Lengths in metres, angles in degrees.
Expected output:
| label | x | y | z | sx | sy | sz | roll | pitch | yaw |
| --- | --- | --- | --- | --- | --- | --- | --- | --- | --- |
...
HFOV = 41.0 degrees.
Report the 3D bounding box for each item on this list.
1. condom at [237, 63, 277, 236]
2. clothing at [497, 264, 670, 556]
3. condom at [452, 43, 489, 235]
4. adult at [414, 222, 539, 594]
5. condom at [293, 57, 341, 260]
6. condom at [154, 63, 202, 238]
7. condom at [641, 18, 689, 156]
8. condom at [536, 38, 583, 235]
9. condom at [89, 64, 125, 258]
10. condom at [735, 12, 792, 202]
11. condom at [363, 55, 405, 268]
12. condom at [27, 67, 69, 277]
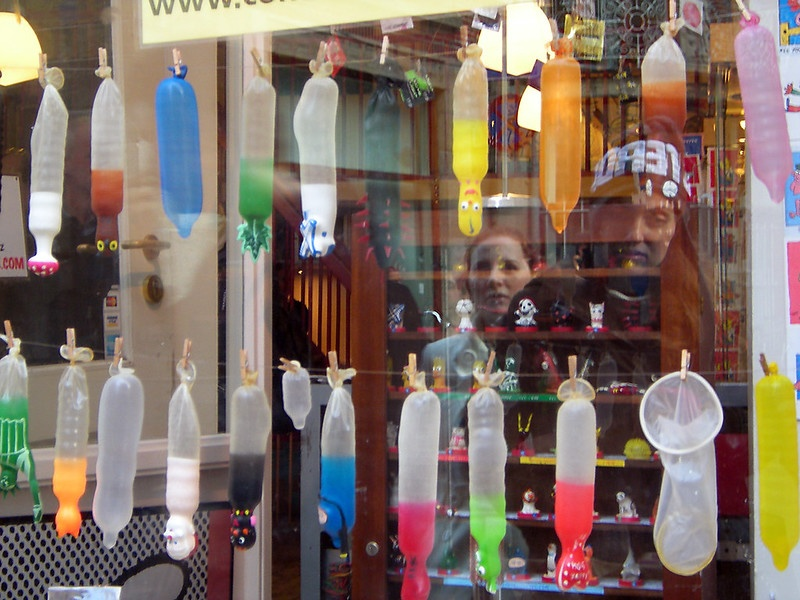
| label | x | y | z | sx | sy | sz | roll | pitch | yaw |
| --- | --- | --- | --- | --- | --- | --- | --- | --- | --- |
| condom | -0.342 | -0.357 | 2.538 | 0.070 | 0.354 | 0.070 | 0 | -4 | 7 |
| clothing | 0.434 | 0.230 | 2.559 | 0.504 | 0.658 | 0.189 | 0 | -8 | 7 |
| condom | 0.165 | -0.372 | 2.485 | 0.076 | 0.431 | 0.085 | 0 | 4 | 8 |
| adult | 0.172 | 0.046 | 2.718 | 0.214 | 0.256 | 0.824 | 12 | -41 | 6 |
| condom | -0.192 | -0.327 | 2.473 | 0.099 | 0.442 | 0.053 | -1 | 4 | -8 |
| condom | -0.530 | -0.354 | 2.570 | 0.105 | 0.404 | 0.120 | -2 | 4 | -12 |
| condom | 0.593 | -0.484 | 2.418 | 0.092 | 0.290 | 0.072 | 0 | 4 | 14 |
| condom | 0.361 | -0.377 | 2.435 | 0.083 | 0.430 | 0.090 | -3 | 5 | -33 |
| condom | -0.715 | -0.344 | 2.600 | 0.071 | 0.438 | 0.091 | -3 | 5 | -28 |
| condom | 0.807 | -0.443 | 2.385 | 0.122 | 0.443 | 0.069 | 1 | 5 | 29 |
| condom | -0.042 | -0.302 | 2.570 | 0.089 | 0.452 | 0.086 | -1 | 4 | -4 |
| condom | -0.852 | -0.317 | 2.596 | 0.101 | 0.506 | 0.086 | -3 | 4 | -24 |
